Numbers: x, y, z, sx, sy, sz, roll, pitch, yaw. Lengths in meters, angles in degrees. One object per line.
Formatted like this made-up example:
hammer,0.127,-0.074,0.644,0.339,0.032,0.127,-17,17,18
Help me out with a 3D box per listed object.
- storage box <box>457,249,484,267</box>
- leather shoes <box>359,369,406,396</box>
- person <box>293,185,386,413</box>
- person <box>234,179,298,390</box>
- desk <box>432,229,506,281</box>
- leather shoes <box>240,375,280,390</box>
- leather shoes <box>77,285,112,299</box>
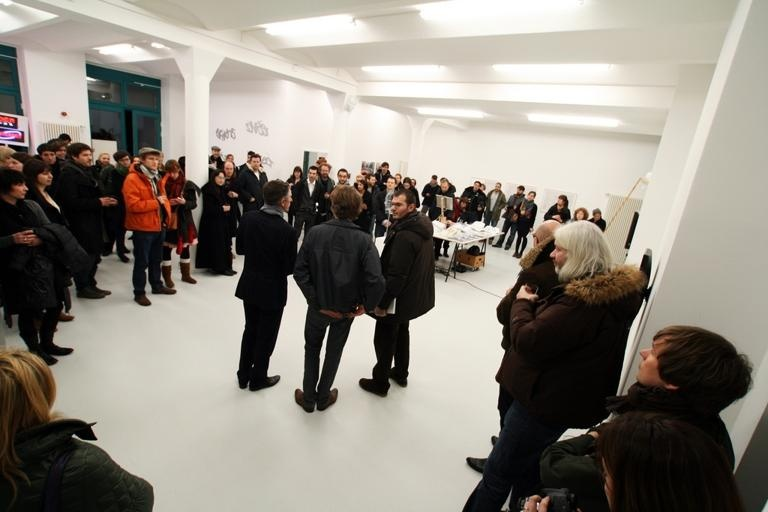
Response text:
storage box,1.589,0.018,8.714,0.371,0.230,0.366,-7,23,-41
leather shoes,-0.037,1.186,4.620,0.214,0.178,0.282,30,37,35
person,-0.406,0.430,4.073,0.773,2.064,0.345,5,14,-7
person,-1.076,0.317,4.229,0.569,1.964,0.387,6,14,-4
desk,1.635,-0.072,8.613,0.998,0.408,0.969,18,-14,-41
leather shoes,-1.179,1.192,4.449,0.265,0.110,0.086,-15,29,-40
leather shoes,-3.431,0.426,5.595,0.236,0.091,0.142,-2,19,-15
